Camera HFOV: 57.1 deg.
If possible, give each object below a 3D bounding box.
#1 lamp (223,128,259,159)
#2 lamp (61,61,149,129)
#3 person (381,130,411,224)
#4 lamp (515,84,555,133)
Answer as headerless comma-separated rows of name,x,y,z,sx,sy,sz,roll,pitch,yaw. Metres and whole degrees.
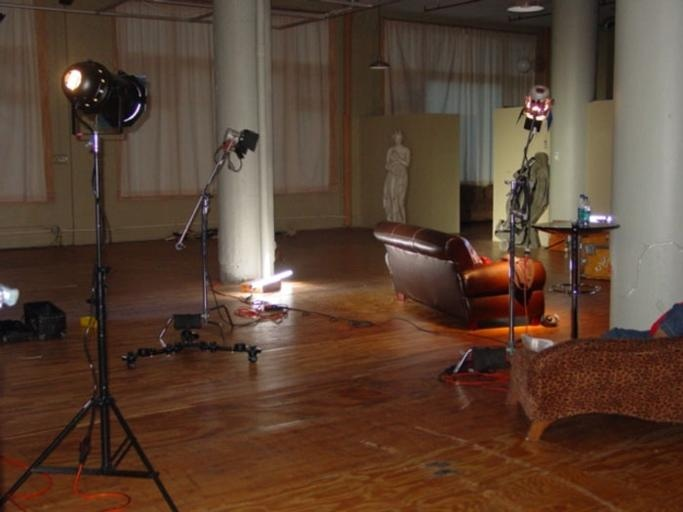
lamp,-1.069,-1.172,6.594,0.344,0.315,0.976,-2,11,-10
lamp,-1.339,-0.893,3.625,0.321,0.363,0.509,6,9,13
person,1.077,-1.555,12.344,0.479,1.766,0.696,-6,12,-32
lamp,1.727,-1.310,5.534,0.223,0.407,0.710,3,11,16
